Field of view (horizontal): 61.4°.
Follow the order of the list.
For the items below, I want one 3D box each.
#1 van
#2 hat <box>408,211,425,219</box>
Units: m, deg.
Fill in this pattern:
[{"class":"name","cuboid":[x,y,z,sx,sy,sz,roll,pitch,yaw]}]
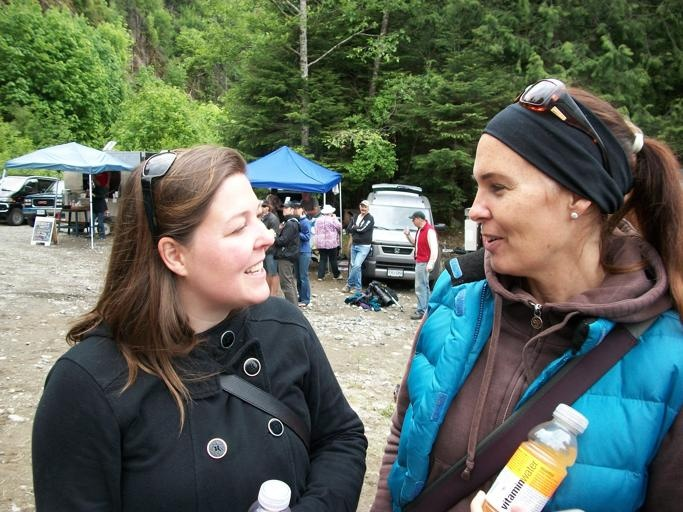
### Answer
[{"class":"van","cuboid":[1.373,-0.729,13.398,1.953,1.972,3.542,4,17,4]},{"class":"hat","cuboid":[1.295,-0.746,9.913,0.280,0.128,0.191,5,-1,8]}]
